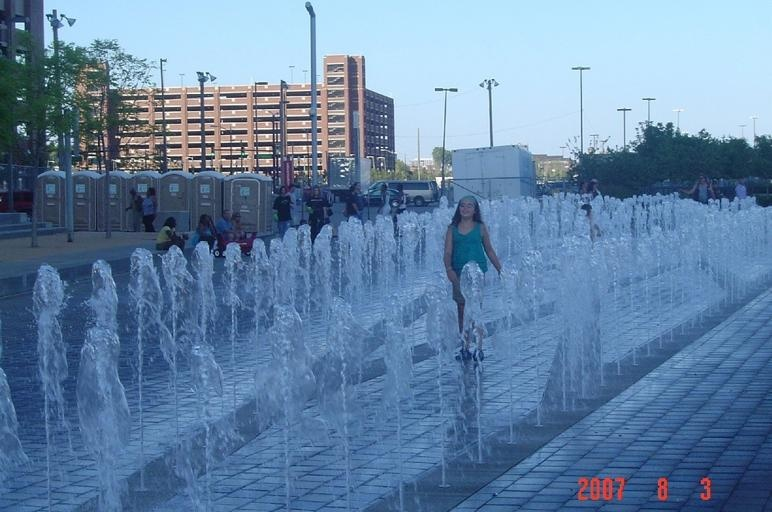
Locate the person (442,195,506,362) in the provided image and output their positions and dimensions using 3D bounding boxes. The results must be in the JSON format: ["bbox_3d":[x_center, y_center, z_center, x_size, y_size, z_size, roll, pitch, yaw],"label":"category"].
[{"bbox_3d":[1.044,0.262,11.476,0.627,1.985,0.662,-1,7,4],"label":"person"}]

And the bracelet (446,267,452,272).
[{"bbox_3d":[0.777,0.163,11.396,0.051,0.039,0.051,1,-1,-14],"label":"bracelet"}]

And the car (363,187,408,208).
[{"bbox_3d":[0.445,-3.508,59.129,3.371,1.210,1.601,3,5,13],"label":"car"}]
